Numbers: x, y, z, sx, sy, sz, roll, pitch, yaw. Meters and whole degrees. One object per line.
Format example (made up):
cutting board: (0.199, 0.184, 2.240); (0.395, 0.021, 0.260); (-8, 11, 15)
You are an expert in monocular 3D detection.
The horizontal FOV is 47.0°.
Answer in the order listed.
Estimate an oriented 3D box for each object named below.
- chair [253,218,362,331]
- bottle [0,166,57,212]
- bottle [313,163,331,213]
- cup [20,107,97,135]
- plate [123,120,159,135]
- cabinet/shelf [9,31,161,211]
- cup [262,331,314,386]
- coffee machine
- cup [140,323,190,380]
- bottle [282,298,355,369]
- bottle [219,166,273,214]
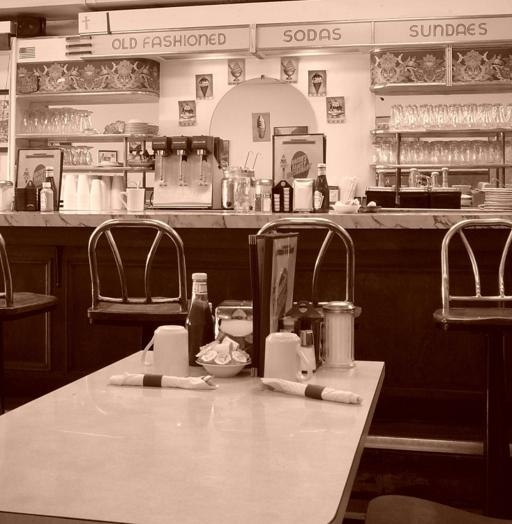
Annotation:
chair: (0.240, 0.020, 1.922); (0.206, 0.276, 0.217); (-2, 6, 28)
bottle: (-1.505, -0.481, 3.889); (0.377, 0.291, 0.417); (0, 5, -15)
bottle: (0.382, -0.431, 3.422); (0.088, 0.282, 0.386); (2, 5, 7)
cup: (-2.237, -1.565, 6.606); (0.523, 0.210, 0.434); (0, 8, 1)
plate: (-1.251, -1.460, 6.529); (0.397, 0.168, 0.279); (-1, 6, -29)
cabinet/shelf: (-1.855, -1.371, 6.643); (1.516, 1.718, 0.588); (0, 3, -9)
cup: (0.074, 0.202, 1.231); (0.070, 0.123, 0.112); (-17, 26, -41)
coffee machine: (-0.462, -0.625, 4.163); (0.528, 0.636, 0.455); (0, -4, 3)
cup: (-0.199, 0.201, 1.289); (0.113, 0.122, 0.076); (-3, -5, 32)
bottle: (0.146, 0.165, 1.392); (0.165, 0.188, 0.118); (-2, 2, 3)
bottle: (-0.105, -0.484, 3.993); (0.384, 0.394, 0.232); (4, 4, 12)
